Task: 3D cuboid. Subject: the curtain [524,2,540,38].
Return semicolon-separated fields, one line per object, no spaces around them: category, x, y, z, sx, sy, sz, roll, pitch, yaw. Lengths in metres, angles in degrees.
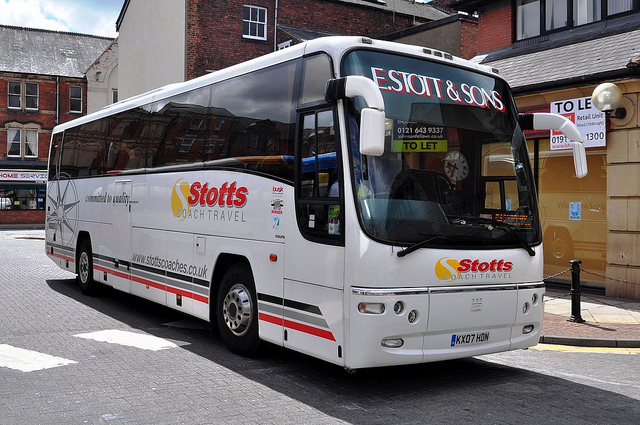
curtain;7.466;-6.752;16.524;0.107;1.203;0.605;0;1;-34

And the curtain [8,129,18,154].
curtain;-30.975;-7.307;47.437;0.261;2.144;0.810;1;1;43

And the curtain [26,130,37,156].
curtain;-29.428;-7.170;48.081;1.019;2.494;0.206;1;1;-11

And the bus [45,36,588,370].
bus;-2.750;-0.124;11.916;4.792;4.940;14.756;2;-2;-33

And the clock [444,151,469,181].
clock;1.944;-0.652;6.653;0.446;0.410;0.121;0;1;-35
